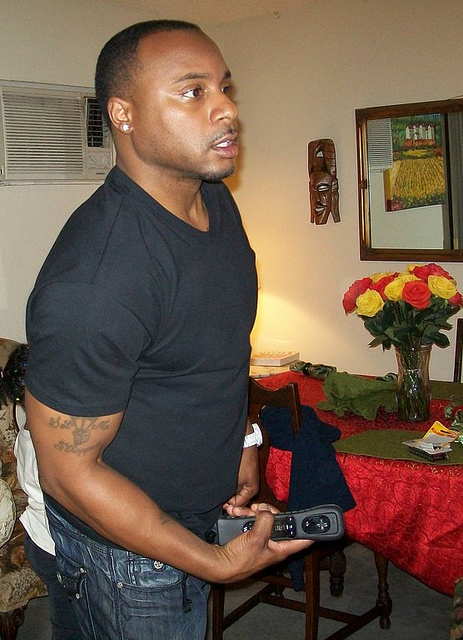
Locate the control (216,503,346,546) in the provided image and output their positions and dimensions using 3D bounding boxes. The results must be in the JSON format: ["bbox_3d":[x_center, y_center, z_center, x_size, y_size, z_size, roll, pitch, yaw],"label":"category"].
[{"bbox_3d":[0.069,0.311,0.795,0.187,0.053,0.029,-10,-21,13],"label":"control"}]

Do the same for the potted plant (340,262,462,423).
[{"bbox_3d":[0.553,0.079,1.785,0.357,0.528,0.216,0,6,26],"label":"potted plant"}]

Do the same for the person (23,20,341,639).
[{"bbox_3d":[-0.090,-0.006,0.709,0.395,0.753,0.243,-7,7,-39],"label":"person"}]

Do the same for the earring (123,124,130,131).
[{"bbox_3d":[-0.127,-0.234,0.640,0.007,0.006,0.002,0,8,-8],"label":"earring"}]
